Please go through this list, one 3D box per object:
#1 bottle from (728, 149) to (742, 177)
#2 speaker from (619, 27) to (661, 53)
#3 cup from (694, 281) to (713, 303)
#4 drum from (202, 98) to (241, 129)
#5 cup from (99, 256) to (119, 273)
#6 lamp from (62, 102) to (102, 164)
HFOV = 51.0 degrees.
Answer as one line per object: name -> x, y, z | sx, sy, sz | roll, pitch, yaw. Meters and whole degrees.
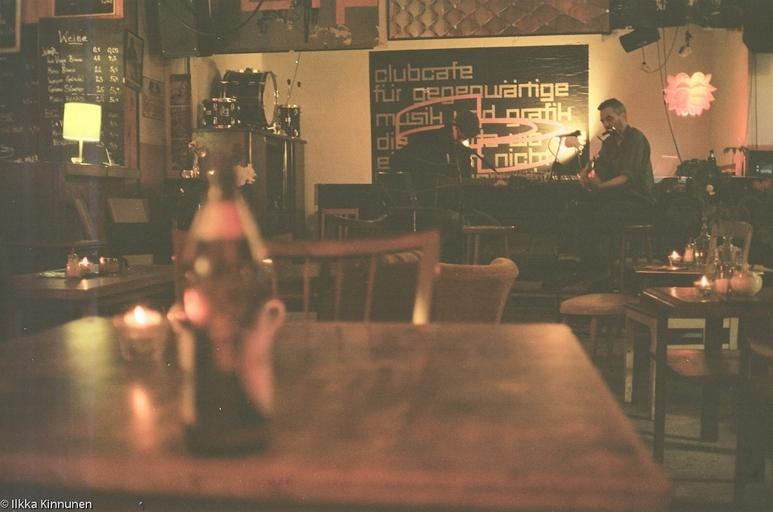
bottle -> 4.688, -1.291, 10.917 | 0.214, 0.361, 0.618 | 3, 7, 22
speaker -> 3.119, -2.696, 10.084 | 0.434, 0.278, 0.514 | 1, 7, 10
cup -> 2.341, 0.265, 5.964 | 0.104, 0.061, 0.164 | 1, 10, 12
drum -> -1.965, -1.706, 9.575 | 0.430, 0.380, 0.261 | -1, 6, -11
cup -> -2.412, 0.079, 7.033 | 0.186, 0.158, 0.117 | -2, 8, -34
lamp -> -2.980, -1.229, 8.018 | 0.313, 0.587, 0.479 | -1, 6, -9
